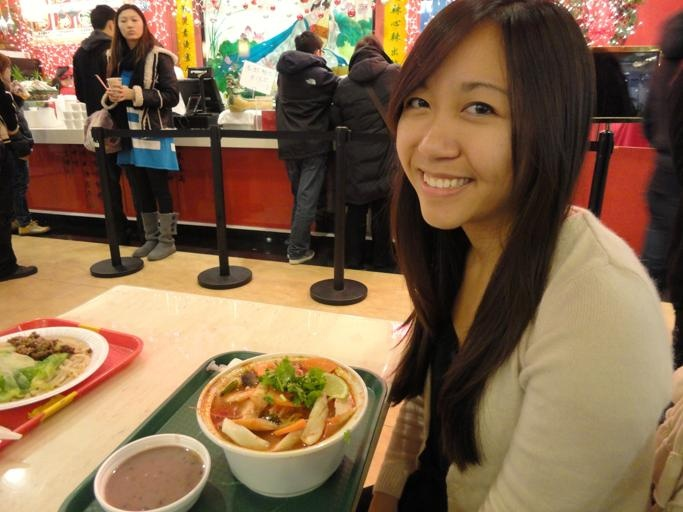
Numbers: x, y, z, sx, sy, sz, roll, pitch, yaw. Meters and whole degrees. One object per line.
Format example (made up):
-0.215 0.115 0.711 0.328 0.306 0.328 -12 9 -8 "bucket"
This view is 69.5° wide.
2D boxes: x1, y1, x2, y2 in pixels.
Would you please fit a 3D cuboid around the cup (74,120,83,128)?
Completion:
-2.712 -1.366 5.071 0.075 0.063 0.083 0 -5 -11 "cup"

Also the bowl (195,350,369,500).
-0.127 0.359 1.111 0.367 0.217 0.299 -10 22 -20 "bowl"

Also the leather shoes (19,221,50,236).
-3.137 -0.279 5.050 0.283 0.122 0.115 -13 28 -42 "leather shoes"

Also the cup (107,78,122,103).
-1.593 -1.169 3.457 0.087 0.157 0.274 -12 22 -23 "cup"

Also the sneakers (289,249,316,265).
-0.323 0.014 4.159 0.091 0.102 0.254 11 21 28 "sneakers"

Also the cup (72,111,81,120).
-2.726 -1.448 5.051 0.066 0.052 0.069 1 17 0 "cup"
